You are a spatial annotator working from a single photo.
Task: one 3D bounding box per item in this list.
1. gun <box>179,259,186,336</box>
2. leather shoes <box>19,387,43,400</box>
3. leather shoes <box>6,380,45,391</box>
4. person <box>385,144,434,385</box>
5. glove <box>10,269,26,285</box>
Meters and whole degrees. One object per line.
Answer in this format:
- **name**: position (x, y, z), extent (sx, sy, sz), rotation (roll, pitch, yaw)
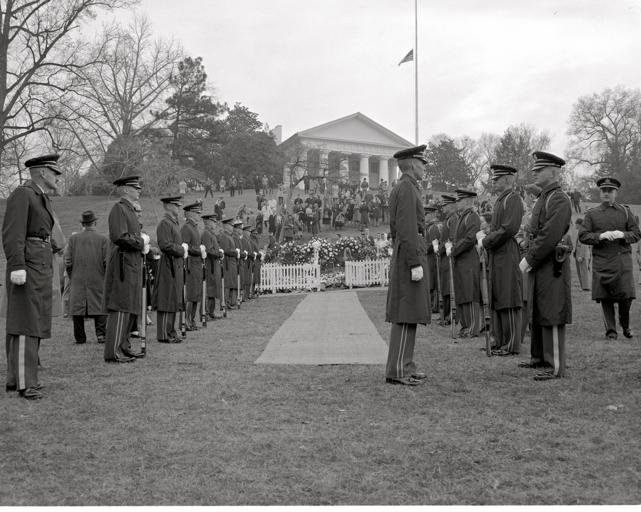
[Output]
- **gun**: position (-2.406, 0.798, 13.414), extent (0.173, 1.318, 0.175), rotation (4, 12, 5)
- **leather shoes**: position (-3.524, 1.666, 9.255), extent (0.325, 0.143, 0.114), rotation (4, 5, 11)
- **leather shoes**: position (-3.704, 1.585, 9.434), extent (0.492, 0.215, 0.169), rotation (0, 0, -6)
- **person**: position (1.130, 0.093, 9.885), extent (0.595, 3.082, 0.552), rotation (-2, -2, 11)
- **glove**: position (-3.739, 0.250, 9.363), extent (0.181, 0.175, 0.179), rotation (0, 2, -30)
